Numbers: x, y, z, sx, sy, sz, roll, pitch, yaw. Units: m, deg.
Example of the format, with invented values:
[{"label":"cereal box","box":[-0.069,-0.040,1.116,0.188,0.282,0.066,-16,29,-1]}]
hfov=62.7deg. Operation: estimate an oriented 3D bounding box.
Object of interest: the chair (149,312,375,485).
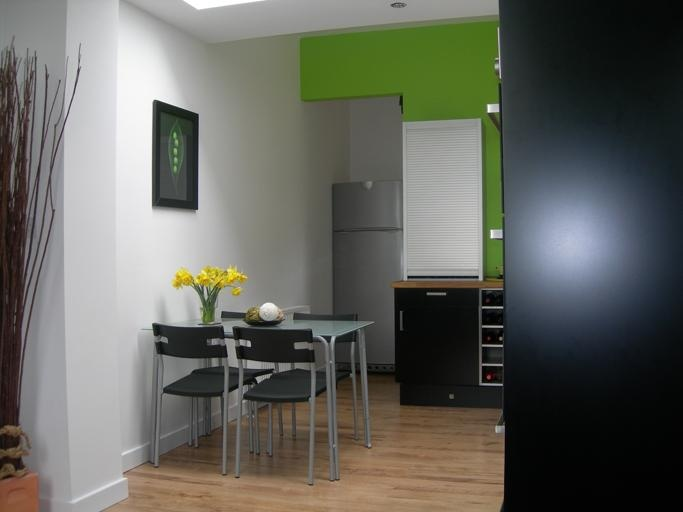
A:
[{"label":"chair","box":[-0.344,1.163,4.033,1.354,1.038,0.915,-3,-5,21]}]

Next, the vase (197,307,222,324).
[{"label":"vase","box":[-0.960,0.434,4.105,0.140,0.155,0.149,2,-1,-41]}]

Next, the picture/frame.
[{"label":"picture/frame","box":[-1.221,-0.720,4.124,0.058,0.705,0.449,0,0,27]}]
